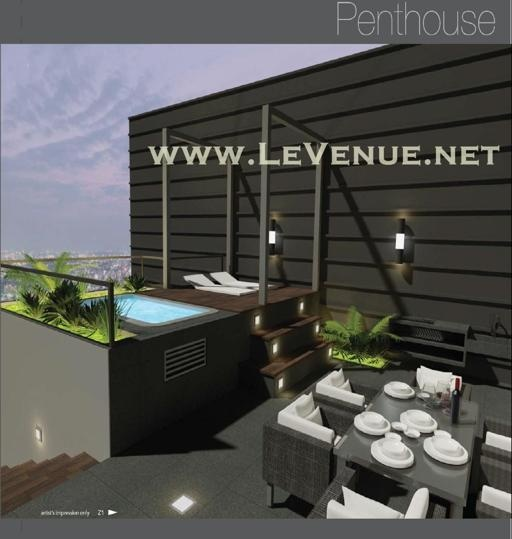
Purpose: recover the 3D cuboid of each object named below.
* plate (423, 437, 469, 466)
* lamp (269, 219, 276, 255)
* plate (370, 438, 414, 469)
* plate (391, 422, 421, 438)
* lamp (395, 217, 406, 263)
[{"bbox_3d":[1.308,1.235,2.742,0.287,0.083,0.248,8,10,44],"label":"plate"},{"bbox_3d":[0.328,-0.649,7.765,0.136,0.674,0.290,1,6,4],"label":"lamp"},{"bbox_3d":[0.932,1.233,2.715,0.283,0.081,0.318,4,8,22],"label":"plate"},{"bbox_3d":[1.127,1.196,2.986,0.085,0.032,0.133,1,5,-33],"label":"plate"},{"bbox_3d":[2.278,-0.457,6.269,0.168,0.712,0.166,4,7,23],"label":"lamp"}]
